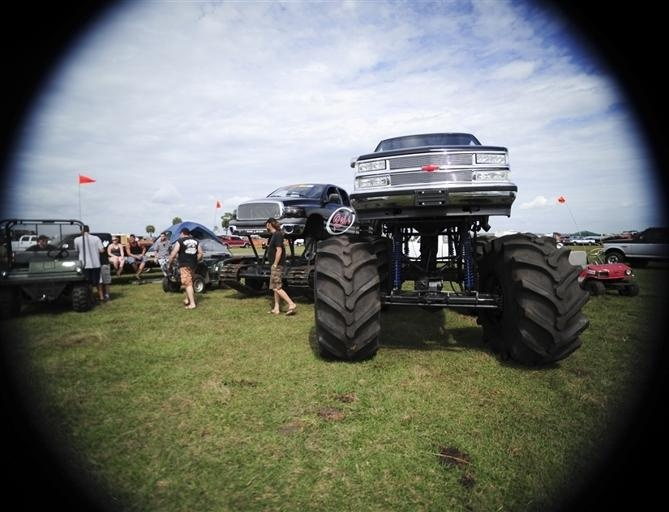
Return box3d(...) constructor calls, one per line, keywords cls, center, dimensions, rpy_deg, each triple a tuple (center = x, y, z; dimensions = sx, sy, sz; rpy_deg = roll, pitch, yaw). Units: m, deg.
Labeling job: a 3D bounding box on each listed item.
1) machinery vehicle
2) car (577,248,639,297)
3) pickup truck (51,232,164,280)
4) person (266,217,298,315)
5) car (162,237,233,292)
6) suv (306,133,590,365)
box3d(cls="machinery vehicle", center=(-0.583, -0.609, 11.151), dimensions=(3.078, 2.720, 5.150), rpy_deg=(-2, 2, 32))
box3d(cls="car", center=(7.353, 0.575, 11.414), dimensions=(1.414, 1.022, 2.263), rpy_deg=(0, -5, -6))
box3d(cls="pickup truck", center=(-6.373, 0.006, 11.330), dimensions=(2.832, 1.102, 1.690), rpy_deg=(3, -4, -27))
box3d(cls="person", center=(-1.130, 0.192, 8.402), dimensions=(0.463, 1.981, 0.635), rpy_deg=(-5, 6, -32))
box3d(cls="car", center=(-3.854, 0.213, 12.253), dimensions=(1.701, 1.391, 2.566), rpy_deg=(-2, -4, 23))
box3d(cls="suv", center=(1.601, 0.054, 6.606), dimensions=(2.873, 2.507, 4.529), rpy_deg=(0, -5, 11))
